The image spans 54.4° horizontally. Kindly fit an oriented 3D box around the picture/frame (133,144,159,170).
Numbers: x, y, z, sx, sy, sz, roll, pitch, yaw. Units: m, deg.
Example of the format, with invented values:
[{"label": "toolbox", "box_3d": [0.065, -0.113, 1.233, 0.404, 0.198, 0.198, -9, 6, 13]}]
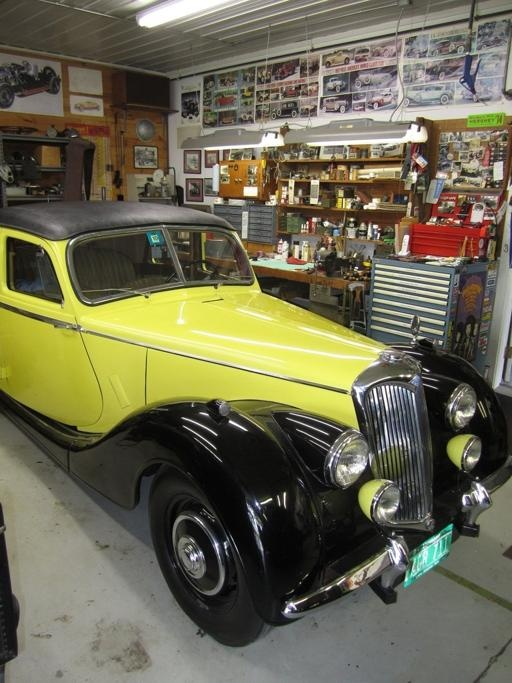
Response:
[{"label": "picture/frame", "box_3d": [-1.913, -3.220, 8.620, 0.040, 0.426, 0.526, 23, 24, 39]}]
